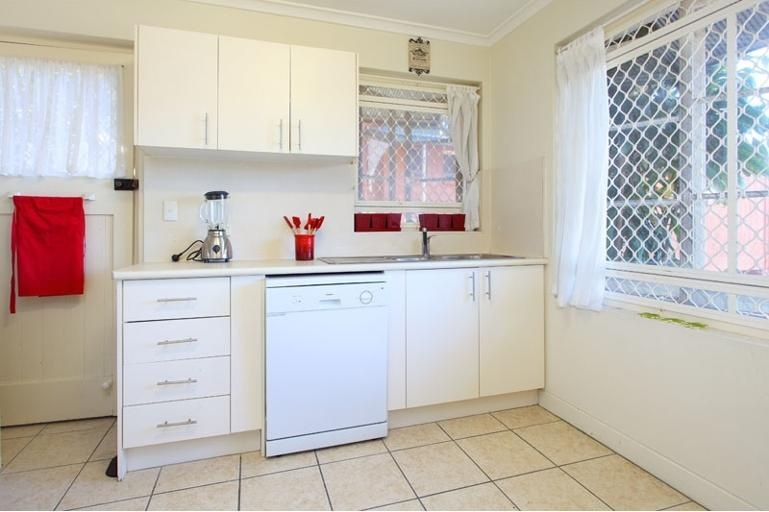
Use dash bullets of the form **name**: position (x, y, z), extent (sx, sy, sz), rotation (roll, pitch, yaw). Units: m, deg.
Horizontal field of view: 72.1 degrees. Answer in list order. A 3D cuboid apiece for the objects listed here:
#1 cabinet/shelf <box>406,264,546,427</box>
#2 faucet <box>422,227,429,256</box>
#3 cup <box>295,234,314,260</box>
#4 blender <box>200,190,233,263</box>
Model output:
- **cabinet/shelf**: position (0.636, 0.653, 3.917), extent (1.168, 1.005, 0.443), rotation (-1, -2, -19)
- **faucet**: position (0.346, -0.119, 4.421), extent (0.067, 0.228, 0.180), rotation (-2, 7, 5)
- **cup**: position (-0.606, -0.066, 4.096), extent (0.176, 0.186, 0.175), rotation (1, 5, 0)
- **blender**: position (-1.248, -0.215, 3.867), extent (0.216, 0.503, 0.308), rotation (-4, 7, -18)
